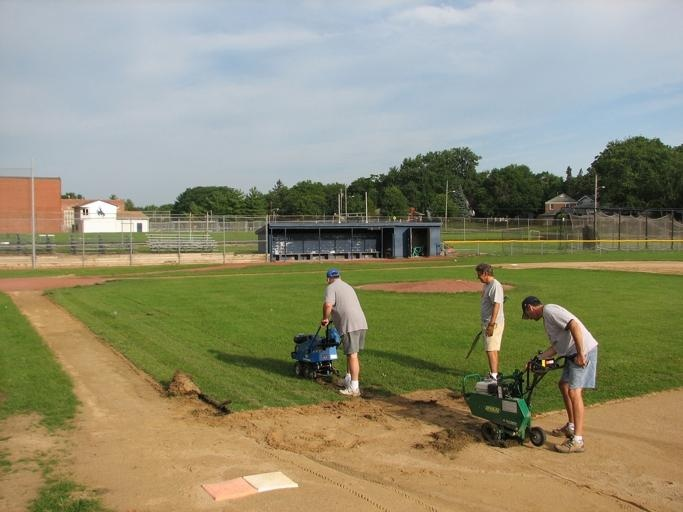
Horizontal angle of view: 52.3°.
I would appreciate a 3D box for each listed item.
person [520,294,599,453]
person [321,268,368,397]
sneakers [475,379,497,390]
[{"bbox_3d":[3.522,1.896,11.067,1.044,2.208,0.892,4,11,16],"label":"person"},{"bbox_3d":[0.056,1.419,13.298,0.847,2.334,0.965,1,11,1],"label":"person"},{"bbox_3d":[2.415,2.139,11.517,0.297,0.087,0.280,2,-7,-15],"label":"sneakers"}]
